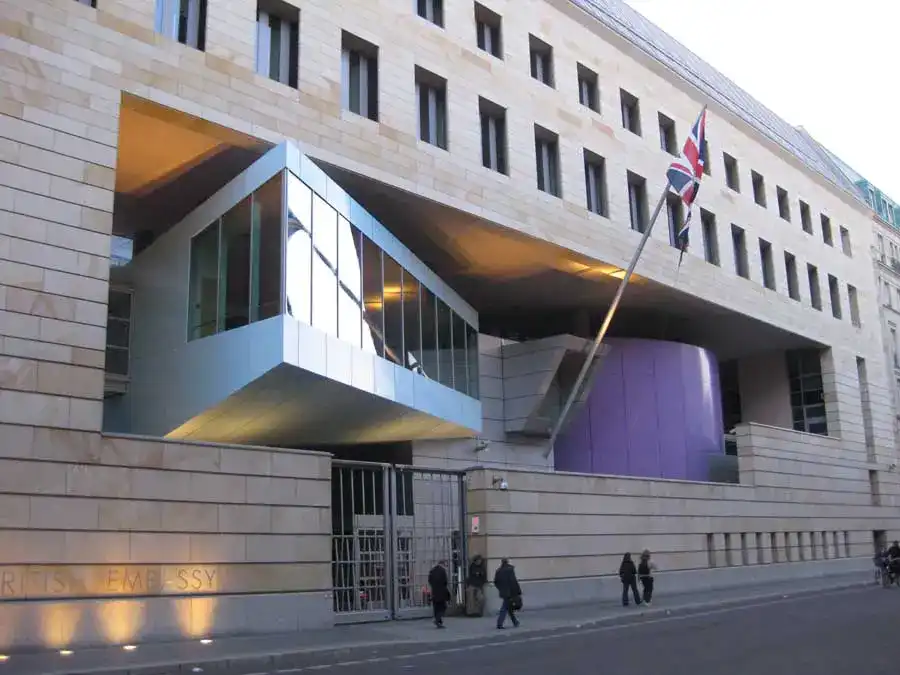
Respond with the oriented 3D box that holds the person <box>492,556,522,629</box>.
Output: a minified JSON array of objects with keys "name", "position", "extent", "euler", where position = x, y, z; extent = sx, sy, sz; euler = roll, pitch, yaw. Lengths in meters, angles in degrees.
[{"name":"person","position":[1.479,6.770,24.771],"extent":[0.728,1.816,1.437],"euler":[-2,-15,2]}]

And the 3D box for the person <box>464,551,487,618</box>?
[{"name":"person","position":[0.664,7.300,27.308],"extent":[0.637,1.684,1.191],"euler":[-2,-15,0]}]

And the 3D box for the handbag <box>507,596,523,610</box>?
[{"name":"handbag","position":[1.623,7.042,24.640],"extent":[0.401,0.402,0.393],"euler":[-9,-16,39]}]
